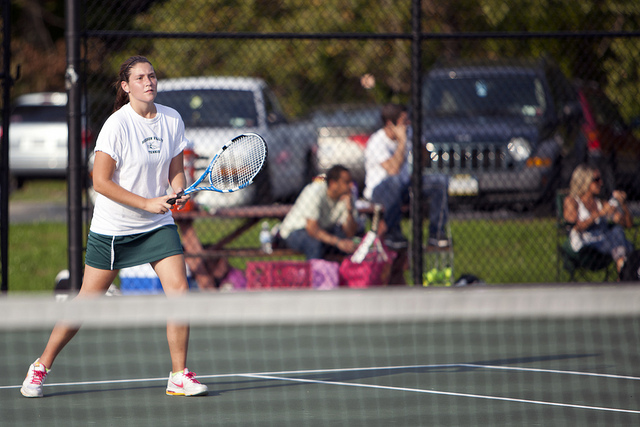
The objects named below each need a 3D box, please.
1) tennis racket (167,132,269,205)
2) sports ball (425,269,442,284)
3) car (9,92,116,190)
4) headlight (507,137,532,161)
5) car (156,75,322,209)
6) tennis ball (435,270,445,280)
[{"bbox_3d":[-0.896,-0.325,8.103,1.002,0.417,0.053,-38,-6,-6],"label":"tennis racket"},{"bbox_3d":[1.164,0.650,9.670,0.155,0.109,0.234,6,15,25],"label":"sports ball"},{"bbox_3d":[-4.275,-1.170,14.911,1.738,1.805,3.482,-1,7,-5],"label":"car"},{"bbox_3d":[2.334,-0.754,10.832,0.275,0.323,0.067,10,-15,-29],"label":"headlight"},{"bbox_3d":[-1.013,-0.928,12.242,1.140,1.161,2.517,0,0,9],"label":"car"},{"bbox_3d":[1.236,0.629,9.682,0.070,0.039,0.084,-9,16,11],"label":"tennis ball"}]
